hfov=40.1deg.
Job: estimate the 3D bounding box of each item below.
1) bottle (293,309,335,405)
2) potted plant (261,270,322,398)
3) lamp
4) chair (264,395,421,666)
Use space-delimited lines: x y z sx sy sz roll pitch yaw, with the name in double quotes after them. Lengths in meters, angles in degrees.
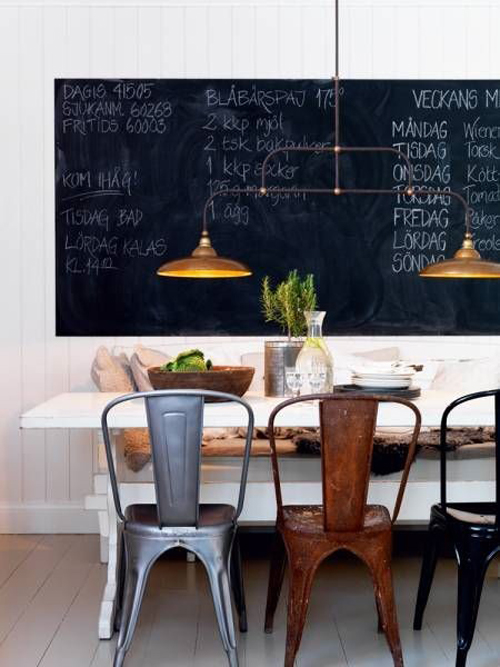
0.209 0.086 2.244 0.115 0.330 0.125 3 -16 1 "bottle"
0.129 0.006 2.481 0.166 0.434 0.195 1 0 -17 "potted plant"
0.298 -0.954 3.246 1.144 1.189 0.358 0 3 -2 "lamp"
0.216 0.544 1.816 0.433 0.878 0.458 2 17 15 "chair"
